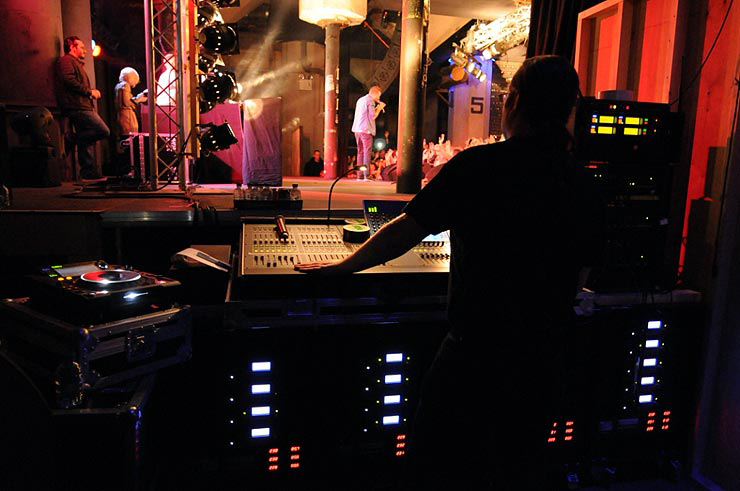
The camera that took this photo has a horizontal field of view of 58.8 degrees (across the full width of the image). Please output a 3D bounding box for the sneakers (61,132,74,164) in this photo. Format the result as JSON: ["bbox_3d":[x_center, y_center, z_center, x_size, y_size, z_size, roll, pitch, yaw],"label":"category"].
[{"bbox_3d":[-3.322,-1.066,7.193,0.161,0.394,0.124,10,13,17],"label":"sneakers"}]

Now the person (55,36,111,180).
[{"bbox_3d":[-3.062,-1.466,6.980,0.476,1.518,0.862,-4,11,-23],"label":"person"}]
